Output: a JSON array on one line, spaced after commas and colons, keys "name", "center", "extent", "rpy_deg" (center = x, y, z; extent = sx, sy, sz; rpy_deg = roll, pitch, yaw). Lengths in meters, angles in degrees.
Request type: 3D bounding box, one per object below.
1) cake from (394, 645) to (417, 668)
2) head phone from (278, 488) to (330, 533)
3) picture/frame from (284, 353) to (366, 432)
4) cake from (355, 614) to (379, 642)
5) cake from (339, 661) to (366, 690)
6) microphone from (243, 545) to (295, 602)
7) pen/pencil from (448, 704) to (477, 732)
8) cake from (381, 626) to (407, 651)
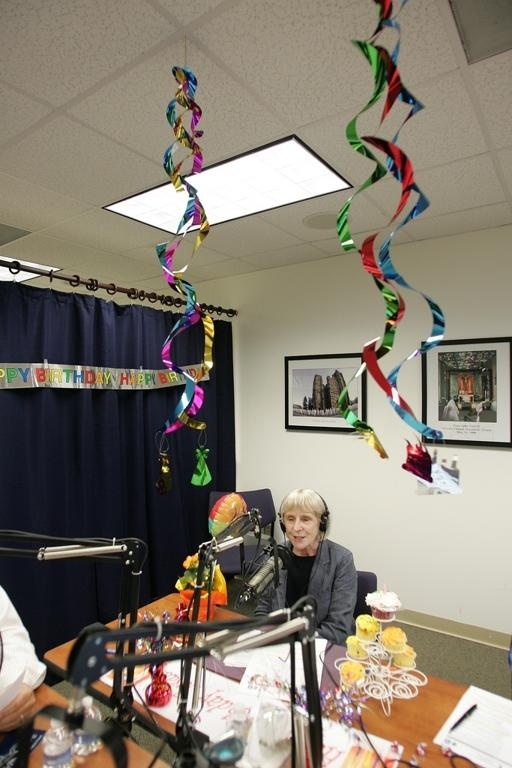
[{"name": "cake", "center": [0.452, 0.838, 1.614], "extent": [0.065, 0.053, 0.063], "rpy_deg": [-4, 0, 15]}, {"name": "head phone", "center": [0.199, 0.482, 2.172], "extent": [0.157, 0.190, 0.192], "rpy_deg": [0, 16, 4]}, {"name": "picture/frame", "center": [0.446, 0.043, 3.333], "extent": [0.512, 0.465, 0.024], "rpy_deg": [-3, -4, 44]}, {"name": "cake", "center": [0.338, 0.749, 1.633], "extent": [0.068, 0.050, 0.065], "rpy_deg": [-2, -3, 35]}, {"name": "cake", "center": [0.271, 0.818, 1.490], "extent": [0.055, 0.046, 0.058], "rpy_deg": [-5, -2, 25]}, {"name": "microphone", "center": [0.011, 0.434, 1.208], "extent": [0.068, 0.105, 0.180], "rpy_deg": [-2, -3, 28]}, {"name": "pen/pencil", "center": [0.534, 0.866, 1.368], "extent": [0.142, 0.012, 0.020], "rpy_deg": [3, -4, -45]}, {"name": "cake", "center": [0.411, 0.756, 1.584], "extent": [0.070, 0.040, 0.071], "rpy_deg": [1, 0, -27]}]
